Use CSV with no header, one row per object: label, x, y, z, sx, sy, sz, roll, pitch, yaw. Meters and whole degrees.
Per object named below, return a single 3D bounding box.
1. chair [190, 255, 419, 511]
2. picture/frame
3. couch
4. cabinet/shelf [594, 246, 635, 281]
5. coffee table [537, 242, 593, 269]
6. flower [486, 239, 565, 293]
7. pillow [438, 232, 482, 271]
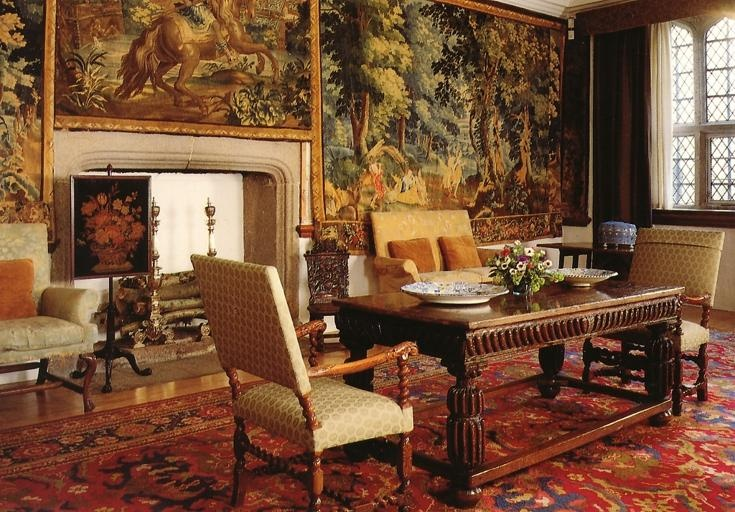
chair,-0.452,0.750,3.575,1.290,1.499,0.629,3,8,28
picture/frame,-2.359,-0.277,5.429,0.959,1.225,0.085,-2,2,-40
couch,0.983,0.049,7.515,1.967,1.247,0.950,-4,4,-42
cabinet/shelf,2.929,0.068,7.080,0.448,0.424,0.440,2,-2,-37
coffee table,2.815,-0.058,8.193,0.527,0.505,0.536,-2,-2,44
flower,1.123,0.099,4.504,0.443,0.310,0.443,2,10,-3
pillow,1.166,-0.067,7.637,0.513,0.459,0.149,2,-26,-32
